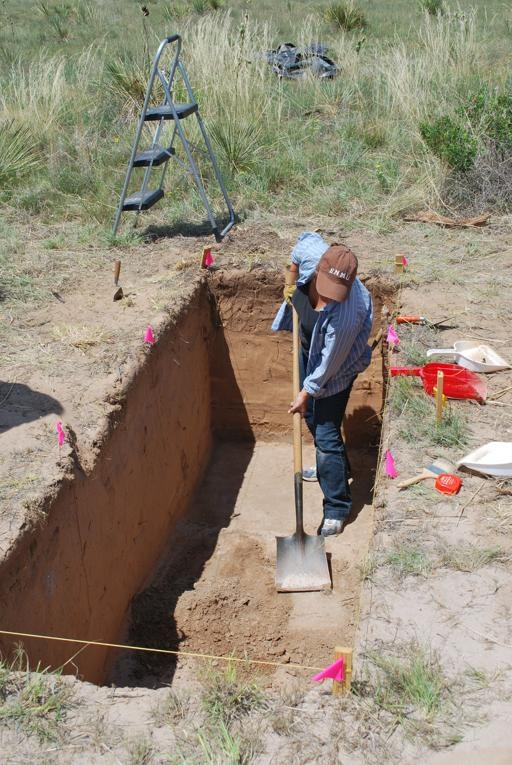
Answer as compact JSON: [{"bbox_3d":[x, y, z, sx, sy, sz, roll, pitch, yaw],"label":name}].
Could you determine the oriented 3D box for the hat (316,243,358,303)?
[{"bbox_3d":[0.382,-0.527,3.507,0.199,0.171,0.302,20,45,-3],"label":"hat"}]

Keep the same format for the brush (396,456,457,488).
[{"bbox_3d":[0.792,0.416,3.422,0.240,0.025,0.115,-20,25,-34],"label":"brush"}]

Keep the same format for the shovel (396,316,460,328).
[{"bbox_3d":[1.080,-0.389,4.733,0.381,0.089,0.077,1,-2,-1],"label":"shovel"}]

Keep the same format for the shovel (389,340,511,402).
[{"bbox_3d":[1.139,-0.073,4.128,0.419,0.110,0.404,-4,20,1],"label":"shovel"}]
